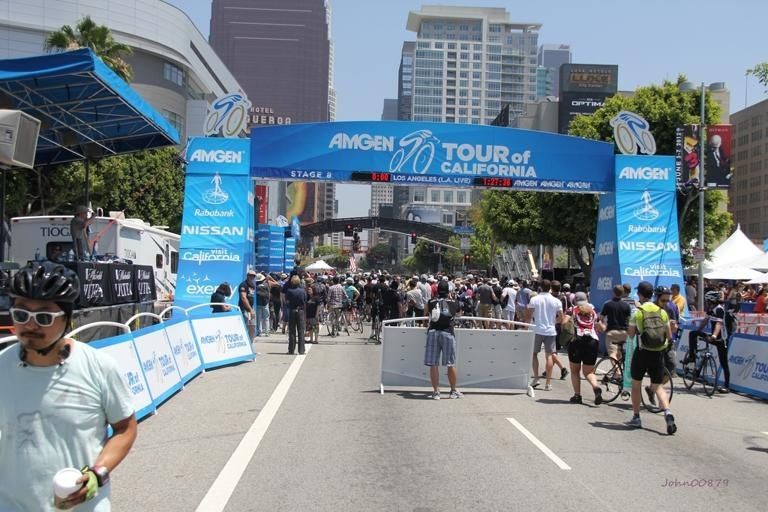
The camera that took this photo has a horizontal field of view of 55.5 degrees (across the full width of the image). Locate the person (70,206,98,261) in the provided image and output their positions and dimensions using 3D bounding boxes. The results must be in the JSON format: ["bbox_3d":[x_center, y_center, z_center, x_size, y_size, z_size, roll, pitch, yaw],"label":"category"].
[{"bbox_3d":[-7.528,-0.618,18.206,0.500,1.525,2.967,-1,-2,-22],"label":"person"}]

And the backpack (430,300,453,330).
[{"bbox_3d":[1.140,1.267,15.467,0.464,0.721,0.367,-2,-19,25],"label":"backpack"}]

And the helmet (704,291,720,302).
[{"bbox_3d":[7.768,0.940,17.205,0.333,0.314,0.322,-2,10,13],"label":"helmet"}]

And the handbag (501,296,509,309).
[{"bbox_3d":[4.443,1.660,26.689,0.328,0.378,0.353,5,10,14],"label":"handbag"}]

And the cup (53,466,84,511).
[{"bbox_3d":[-2.924,2.165,6.857,0.257,0.296,0.278,4,13,-1],"label":"cup"}]

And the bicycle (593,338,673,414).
[{"bbox_3d":[5.079,2.447,15.540,0.658,1.529,2.121,3,-6,-4],"label":"bicycle"}]

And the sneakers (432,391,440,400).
[{"bbox_3d":[1.098,2.933,15.418,0.192,0.124,0.390,-2,-1,5],"label":"sneakers"}]

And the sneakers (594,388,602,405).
[{"bbox_3d":[4.428,2.926,15.136,0.135,0.342,0.223,-3,29,4],"label":"sneakers"}]

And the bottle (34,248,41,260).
[{"bbox_3d":[-9.891,-0.095,20.932,0.289,0.309,0.168,-2,-2,34],"label":"bottle"}]

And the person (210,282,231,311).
[{"bbox_3d":[-4.784,1.213,21.453,0.477,1.177,0.404,15,21,22],"label":"person"}]

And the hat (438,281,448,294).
[{"bbox_3d":[1.219,0.628,15.060,0.203,0.284,0.528,-1,-1,1],"label":"hat"}]
